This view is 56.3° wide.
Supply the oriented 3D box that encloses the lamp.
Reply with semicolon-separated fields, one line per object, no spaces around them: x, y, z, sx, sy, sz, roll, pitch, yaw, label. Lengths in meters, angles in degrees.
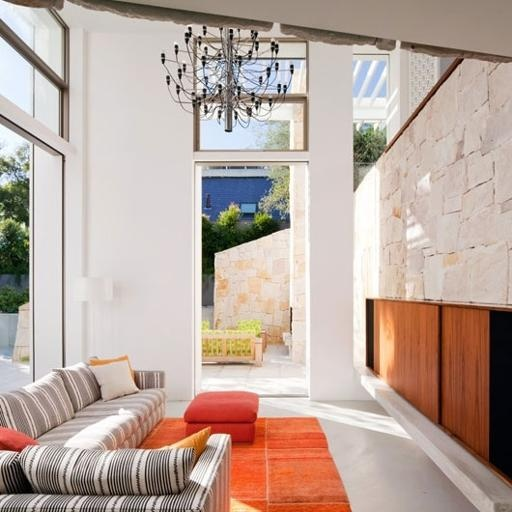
-0.317;-2.107;5.257;1.029;1.472;1.093;-4;19;-13;lamp
